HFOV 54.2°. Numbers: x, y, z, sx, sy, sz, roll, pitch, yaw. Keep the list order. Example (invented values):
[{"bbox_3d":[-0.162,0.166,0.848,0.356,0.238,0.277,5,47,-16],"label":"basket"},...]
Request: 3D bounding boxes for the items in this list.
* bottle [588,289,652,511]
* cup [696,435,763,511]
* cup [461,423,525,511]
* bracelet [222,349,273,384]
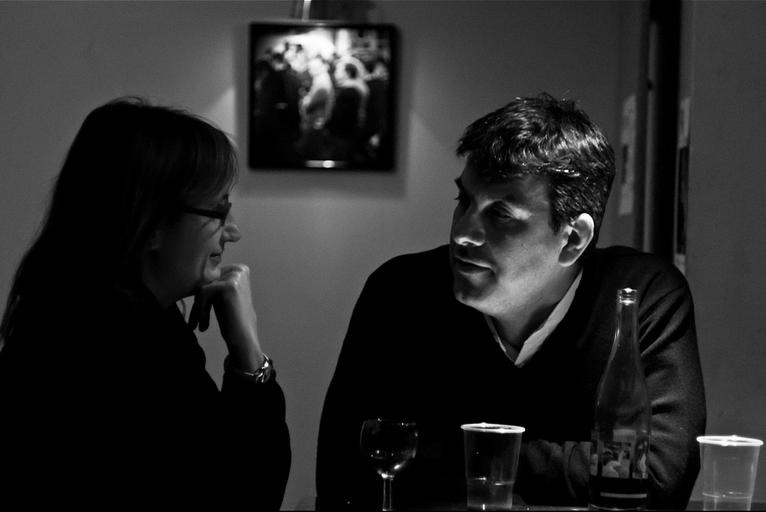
[{"bbox_3d":[0.639,0.372,1.985,0.145,0.533,0.201,5,2,16],"label":"bottle"},{"bbox_3d":[0.913,0.569,1.988,0.195,0.215,0.193,4,-12,1],"label":"cup"},{"bbox_3d":[0.281,0.545,1.952,0.205,0.214,0.202,2,-10,0],"label":"cup"},{"bbox_3d":[-0.403,0.323,2.230,0.113,0.044,0.091,15,-8,18],"label":"bracelet"}]
